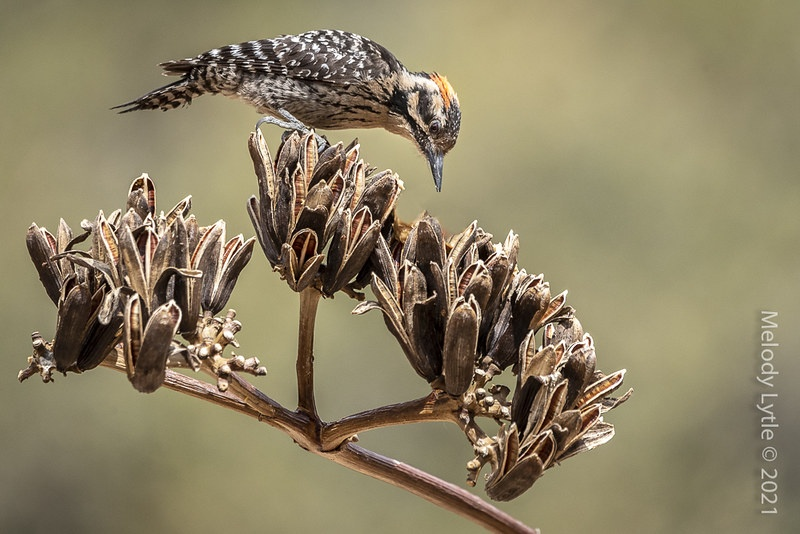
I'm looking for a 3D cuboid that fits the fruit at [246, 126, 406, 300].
[{"bbox_3d":[-0.171,-0.091,2.058,0.286,0.324,0.291,12,3,-19],"label":"fruit"}]

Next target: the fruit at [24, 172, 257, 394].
[{"bbox_3d":[-0.379,0.026,2.025,0.513,0.358,0.427,2,12,-36],"label":"fruit"}]

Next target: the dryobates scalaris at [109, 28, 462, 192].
[{"bbox_3d":[-0.229,-0.382,2.347,0.730,0.304,0.242,15,8,9],"label":"dryobates scalaris"}]
